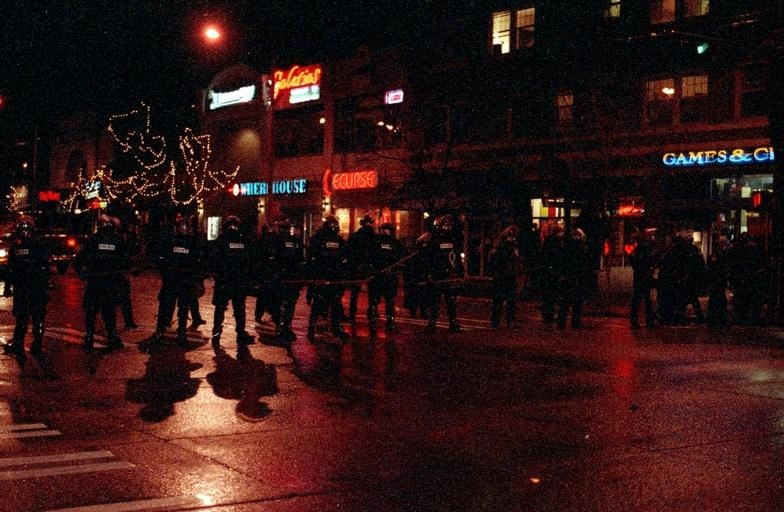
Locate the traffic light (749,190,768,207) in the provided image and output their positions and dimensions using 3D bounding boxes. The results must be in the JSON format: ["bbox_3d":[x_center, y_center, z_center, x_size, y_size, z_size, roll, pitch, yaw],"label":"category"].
[{"bbox_3d":[9.994,-1.520,19.099,0.555,0.495,0.554,3,0,27],"label":"traffic light"}]
